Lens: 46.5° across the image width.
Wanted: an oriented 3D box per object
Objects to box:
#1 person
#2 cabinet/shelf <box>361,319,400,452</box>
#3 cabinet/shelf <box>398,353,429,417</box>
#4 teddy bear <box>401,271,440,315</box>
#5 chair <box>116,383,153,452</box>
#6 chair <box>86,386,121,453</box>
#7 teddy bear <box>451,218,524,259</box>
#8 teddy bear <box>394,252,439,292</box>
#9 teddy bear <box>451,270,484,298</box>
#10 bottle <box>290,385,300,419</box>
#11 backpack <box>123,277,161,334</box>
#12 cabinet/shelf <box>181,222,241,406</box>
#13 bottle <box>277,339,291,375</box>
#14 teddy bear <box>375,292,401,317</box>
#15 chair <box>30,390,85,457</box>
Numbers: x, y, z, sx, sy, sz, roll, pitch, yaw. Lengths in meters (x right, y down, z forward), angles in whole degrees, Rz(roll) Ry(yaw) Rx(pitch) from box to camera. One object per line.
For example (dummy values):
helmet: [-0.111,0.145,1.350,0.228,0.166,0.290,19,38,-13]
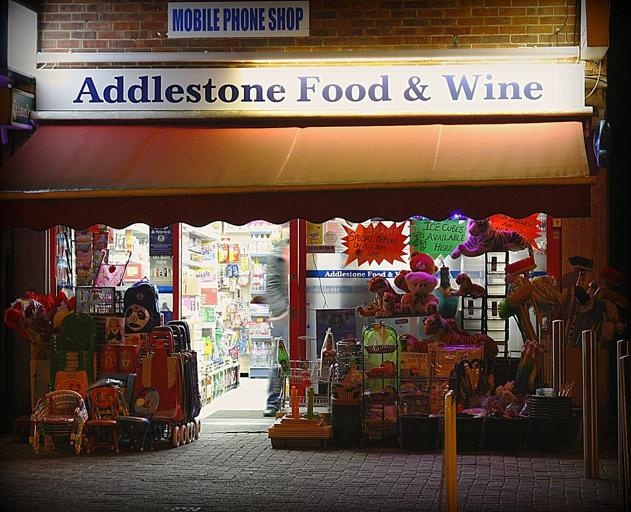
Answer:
person: [-0.628,1.139,11.653,0.244,2.798,0.460,0,-1,-44]
cabinet/shelf: [0.903,1.741,10.103,0.499,1.590,0.682,-1,-1,5]
cabinet/shelf: [1.350,1.740,10.005,0.419,0.797,0.378,-1,-1,6]
teddy bear: [1.474,0.569,10.991,0.603,0.819,0.545,1,-12,5]
chair: [-2.365,2.153,9.742,0.416,0.802,0.492,5,-11,11]
chair: [-2.785,2.122,9.625,0.437,0.895,0.427,0,-1,-18]
teddy bear: [2.533,-0.253,10.770,1.050,0.569,0.424,-2,-3,-3]
teddy bear: [1.571,0.288,10.944,0.614,0.686,0.496,9,-12,38]
teddy bear: [2.249,0.445,10.714,0.383,0.328,0.300,2,-3,12]
bottle: [-0.272,2.000,10.012,0.111,0.405,0.286,0,-1,-1]
backpack: [-2.500,0.736,10.533,0.494,0.763,0.409,7,11,3]
cabinet/shelf: [-2.274,1.137,14.161,1.007,3.101,1.712,-8,-6,27]
bottle: [-0.483,1.554,11.387,0.173,0.484,0.514,0,0,-3]
teddy bear: [1.077,0.717,10.822,0.360,0.342,0.183,-1,-1,-3]
chair: [-3.399,2.221,9.813,0.647,0.943,0.884,0,-11,0]
